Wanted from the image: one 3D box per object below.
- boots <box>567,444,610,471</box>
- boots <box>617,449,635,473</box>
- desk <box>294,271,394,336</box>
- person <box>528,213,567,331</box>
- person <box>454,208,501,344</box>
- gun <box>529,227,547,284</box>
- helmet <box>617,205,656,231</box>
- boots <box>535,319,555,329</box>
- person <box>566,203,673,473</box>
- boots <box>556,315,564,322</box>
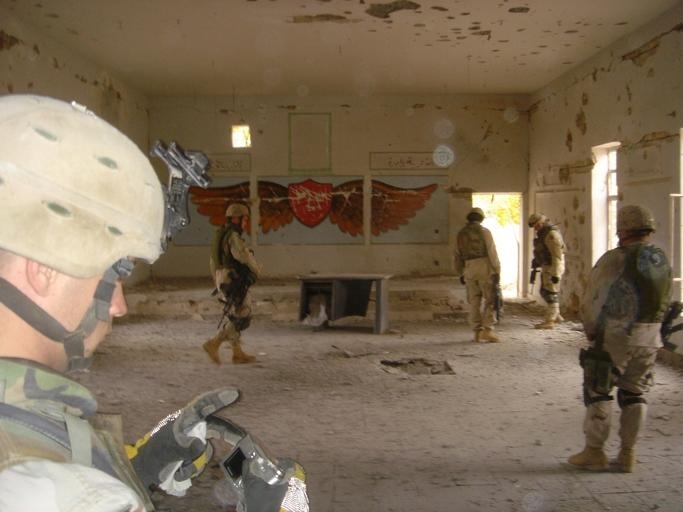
[{"bbox_3d":[1.573,1.277,3.694,0.260,0.230,0.124,0,-1,21],"label":"boots"},{"bbox_3d":[1.782,1.295,3.608,0.074,0.127,0.192,0,3,12],"label":"boots"},{"bbox_3d":[0.029,0.656,8.438,1.214,0.681,1.113,2,-1,11],"label":"desk"},{"bbox_3d":[3.213,0.196,9.019,0.529,1.699,1.413,2,4,21],"label":"person"},{"bbox_3d":[1.821,0.245,7.635,0.322,1.765,0.691,-3,5,-37],"label":"person"},{"bbox_3d":[3.004,0.014,8.906,0.371,0.879,0.209,-3,13,-4],"label":"gun"},{"bbox_3d":[1.916,-0.255,3.801,0.164,0.161,0.212,-6,11,-29],"label":"helmet"},{"bbox_3d":[2.994,1.011,8.511,0.275,0.238,0.125,3,-1,12],"label":"boots"},{"bbox_3d":[1.746,0.645,3.619,0.516,1.437,0.336,2,4,29],"label":"person"},{"bbox_3d":[3.373,0.990,8.975,0.149,0.100,0.141,18,-18,-35],"label":"boots"}]
